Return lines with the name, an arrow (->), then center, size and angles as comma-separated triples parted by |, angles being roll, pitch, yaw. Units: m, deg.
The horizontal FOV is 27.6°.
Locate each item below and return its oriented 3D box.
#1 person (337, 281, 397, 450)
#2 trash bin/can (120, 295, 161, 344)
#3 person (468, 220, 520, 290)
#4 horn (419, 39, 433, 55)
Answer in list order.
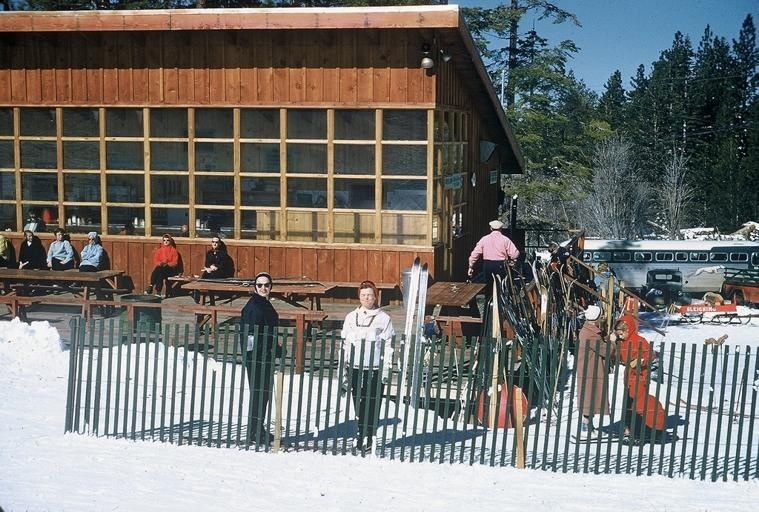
person -> -0.276, 2.677, 37.145 | 1.339, 4.086, 0.848 | 0, -5, 13
trash bin/can -> -6.279, 1.756, 40.636 | 1.368, 1.532, 1.379 | 0, 0, 1
person -> 3.224, 0.042, 43.820 | 1.488, 2.930, 1.034 | 6, 22, 18
horn -> 1.331, -5.773, 42.829 | 0.333, 0.340, 0.335 | 2, 5, 5
